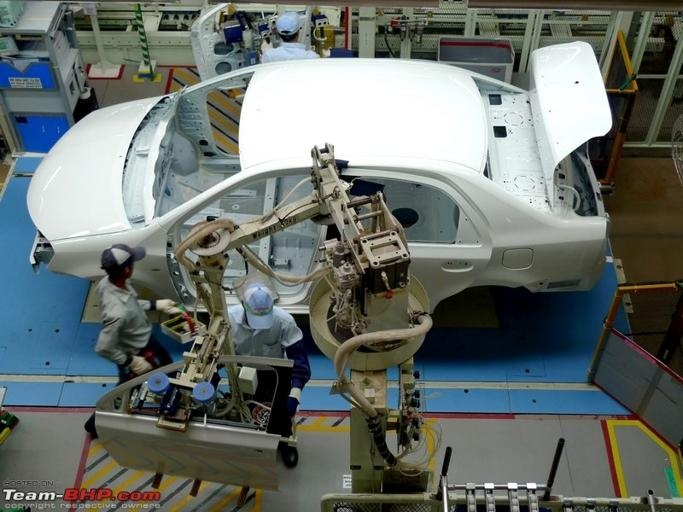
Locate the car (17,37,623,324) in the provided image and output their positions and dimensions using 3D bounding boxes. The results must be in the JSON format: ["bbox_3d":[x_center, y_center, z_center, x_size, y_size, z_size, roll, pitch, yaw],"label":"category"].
[{"bbox_3d":[-0.320,-0.571,7.078,7.220,2.605,3.079,0,63,-3],"label":"car"}]

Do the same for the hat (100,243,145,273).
[{"bbox_3d":[-2.075,0.009,5.335,0.362,0.181,0.222,-23,53,-12],"label":"hat"}]

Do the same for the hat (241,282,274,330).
[{"bbox_3d":[-0.733,0.504,5.031,0.248,0.532,0.269,-5,27,-7],"label":"hat"}]

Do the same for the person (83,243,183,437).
[{"bbox_3d":[-1.922,0.750,5.238,1.040,1.798,0.752,-7,66,-11],"label":"person"}]
